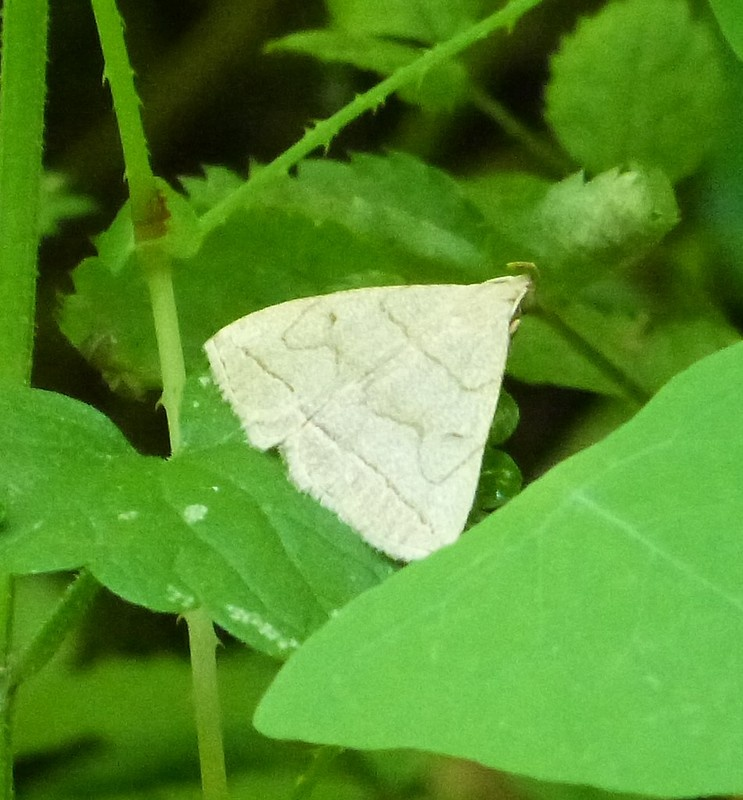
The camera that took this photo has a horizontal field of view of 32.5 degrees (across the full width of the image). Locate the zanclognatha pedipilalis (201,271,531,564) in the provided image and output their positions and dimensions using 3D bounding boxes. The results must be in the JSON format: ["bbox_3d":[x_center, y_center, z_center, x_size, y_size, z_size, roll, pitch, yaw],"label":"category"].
[{"bbox_3d":[-0.017,0.003,0.939,0.205,0.088,0.215,7,59,20],"label":"zanclognatha pedipilalis"}]
